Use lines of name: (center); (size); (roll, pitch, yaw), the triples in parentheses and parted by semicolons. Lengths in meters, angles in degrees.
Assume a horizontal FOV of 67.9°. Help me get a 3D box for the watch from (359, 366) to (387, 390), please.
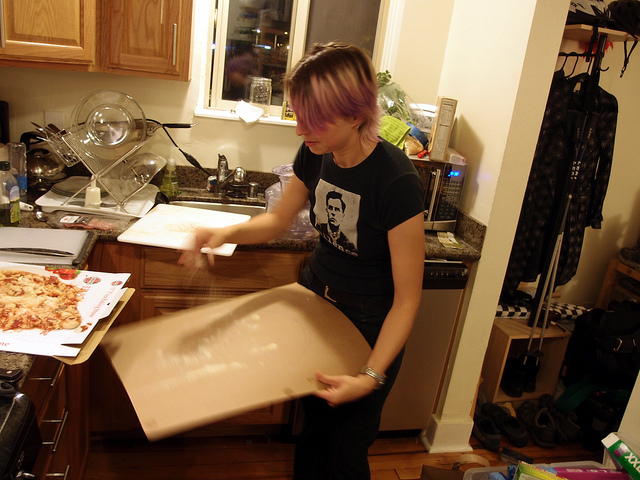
watch: (0.158, 0.418, 1.447); (0.036, 0.057, 0.058); (-50, 13, -30)

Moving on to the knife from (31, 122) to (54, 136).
knife: (-1.307, -0.520, 2.248); (0.074, 0.064, 0.179); (-10, 23, -30)

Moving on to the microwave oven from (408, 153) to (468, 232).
microwave oven: (0.527, -0.274, 2.582); (0.368, 0.369, 0.268); (5, 16, -16)

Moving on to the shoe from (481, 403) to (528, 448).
shoe: (1.066, 1.060, 2.827); (0.130, 0.122, 0.332); (-23, 44, -27)

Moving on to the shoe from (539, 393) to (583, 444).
shoe: (1.451, 1.065, 2.882); (0.106, 0.131, 0.305); (-8, 29, -1)

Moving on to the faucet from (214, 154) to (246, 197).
faucet: (-0.497, -0.359, 2.643); (0.161, 0.241, 0.075); (10, 25, -4)

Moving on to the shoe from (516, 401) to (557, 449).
shoe: (1.274, 1.080, 2.841); (0.134, 0.146, 0.316); (13, 9, -14)
